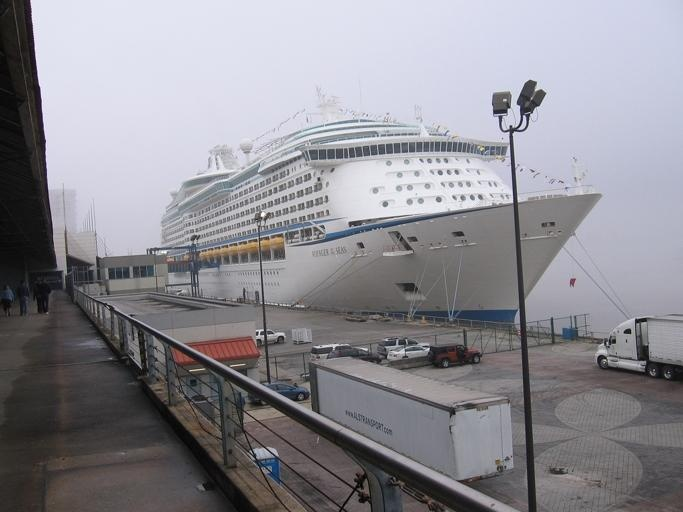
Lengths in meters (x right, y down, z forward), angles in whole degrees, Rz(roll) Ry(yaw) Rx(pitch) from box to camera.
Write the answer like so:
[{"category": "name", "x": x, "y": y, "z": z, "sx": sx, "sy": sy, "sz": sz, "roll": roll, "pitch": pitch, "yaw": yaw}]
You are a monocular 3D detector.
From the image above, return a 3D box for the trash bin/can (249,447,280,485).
[{"category": "trash bin/can", "x": -1.014, "y": 2.879, "z": 7.254, "sx": 0.374, "sy": 0.623, "sz": 0.378, "roll": -2, "pitch": 26, "yaw": 5}]

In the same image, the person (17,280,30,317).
[{"category": "person", "x": -12.779, "y": 1.717, "z": 20.819, "sx": 0.288, "sy": 1.316, "sz": 1.246, "roll": -1, "pitch": -1, "yaw": -30}]

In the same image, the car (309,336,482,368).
[{"category": "car", "x": 2.837, "y": 4.829, "z": 25.792, "sx": 8.638, "sy": 0.847, "sz": 2.436, "roll": -1, "pitch": -1, "yaw": -6}]

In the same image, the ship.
[{"category": "ship", "x": -2.727, "y": -4.050, "z": 44.240, "sx": 46.526, "sy": 14.552, "sz": 14.315, "roll": 0, "pitch": 4, "yaw": 45}]
